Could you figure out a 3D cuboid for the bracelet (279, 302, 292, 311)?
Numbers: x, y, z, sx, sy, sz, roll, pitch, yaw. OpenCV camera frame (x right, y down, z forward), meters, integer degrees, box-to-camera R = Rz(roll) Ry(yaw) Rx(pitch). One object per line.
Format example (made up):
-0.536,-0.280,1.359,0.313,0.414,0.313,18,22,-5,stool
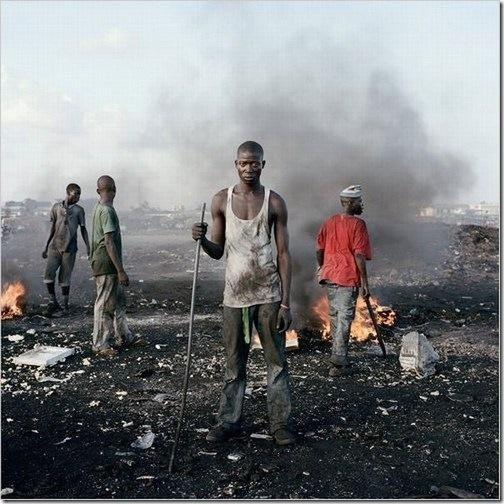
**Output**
0.234,0.390,3.397,0.069,0.061,0.118,2,7,3,bracelet

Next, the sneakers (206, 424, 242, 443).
-0.214,1.298,3.428,0.258,0.129,0.098,8,-5,-27,sneakers

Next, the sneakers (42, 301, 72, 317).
-2.934,0.857,7.074,0.161,0.215,0.450,-4,-12,39,sneakers

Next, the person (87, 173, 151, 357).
-1.536,0.148,5.265,0.507,1.969,0.784,-1,7,-16,person

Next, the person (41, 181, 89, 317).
-2.732,-0.022,6.944,0.622,1.932,0.422,0,6,-8,person

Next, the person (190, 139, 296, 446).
-0.024,0.284,3.383,0.694,2.116,0.377,2,6,5,person

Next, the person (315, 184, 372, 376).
0.975,0.269,5.032,0.501,1.921,0.722,1,6,0,person
